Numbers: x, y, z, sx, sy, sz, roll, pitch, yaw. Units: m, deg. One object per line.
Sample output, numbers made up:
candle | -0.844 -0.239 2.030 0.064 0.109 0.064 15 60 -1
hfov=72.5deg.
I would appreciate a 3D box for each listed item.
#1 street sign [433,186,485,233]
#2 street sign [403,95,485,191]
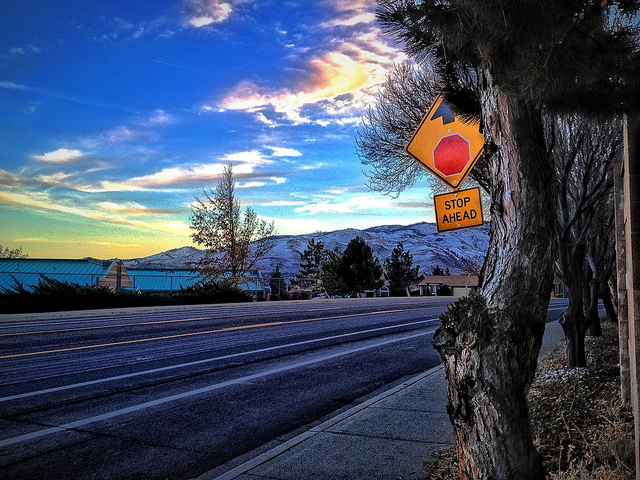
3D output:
street sign | 1.670 -0.362 5.208 0.253 0.507 0.641 3 -4 -40
street sign | 1.706 -1.315 5.974 0.320 1.231 1.040 3 -4 -41
